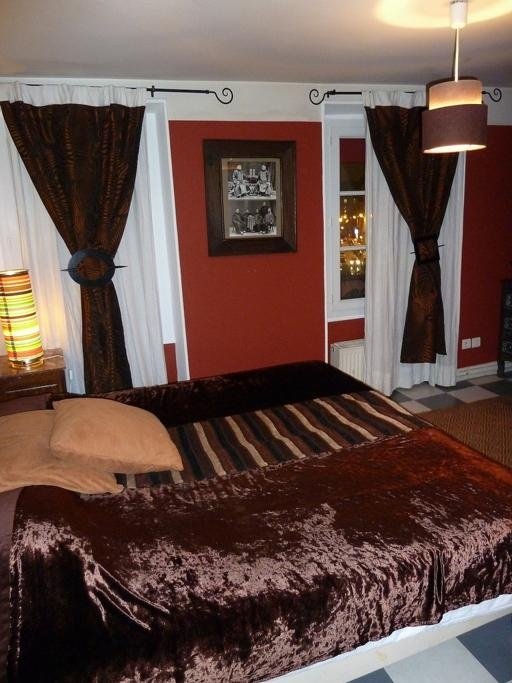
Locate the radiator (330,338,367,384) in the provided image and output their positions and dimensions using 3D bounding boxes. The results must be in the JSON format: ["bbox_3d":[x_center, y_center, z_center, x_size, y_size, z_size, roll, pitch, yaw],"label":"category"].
[{"bbox_3d":[0.700,0.151,3.687,0.313,0.319,0.131,-8,14,-23],"label":"radiator"}]

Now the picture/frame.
[{"bbox_3d":[-0.072,-1.049,3.428,0.784,0.903,0.067,-4,15,-14],"label":"picture/frame"}]
